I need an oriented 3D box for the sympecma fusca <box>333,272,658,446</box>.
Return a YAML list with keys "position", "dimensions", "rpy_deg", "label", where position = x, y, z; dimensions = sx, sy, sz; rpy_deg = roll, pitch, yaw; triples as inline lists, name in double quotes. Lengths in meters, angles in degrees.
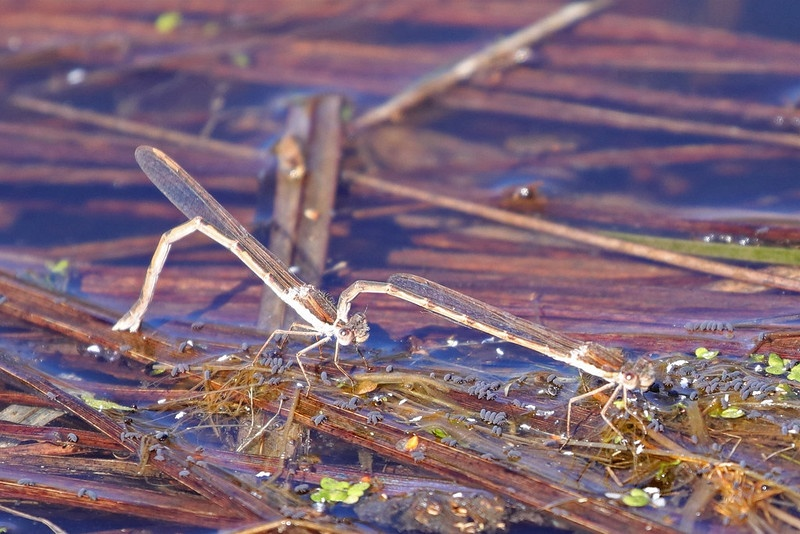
- position: [0.395, 0.228, 3.397]
  dimensions: [1.397, 0.341, 0.450]
  rpy_deg: [16, 27, 12]
  label: "sympecma fusca"
